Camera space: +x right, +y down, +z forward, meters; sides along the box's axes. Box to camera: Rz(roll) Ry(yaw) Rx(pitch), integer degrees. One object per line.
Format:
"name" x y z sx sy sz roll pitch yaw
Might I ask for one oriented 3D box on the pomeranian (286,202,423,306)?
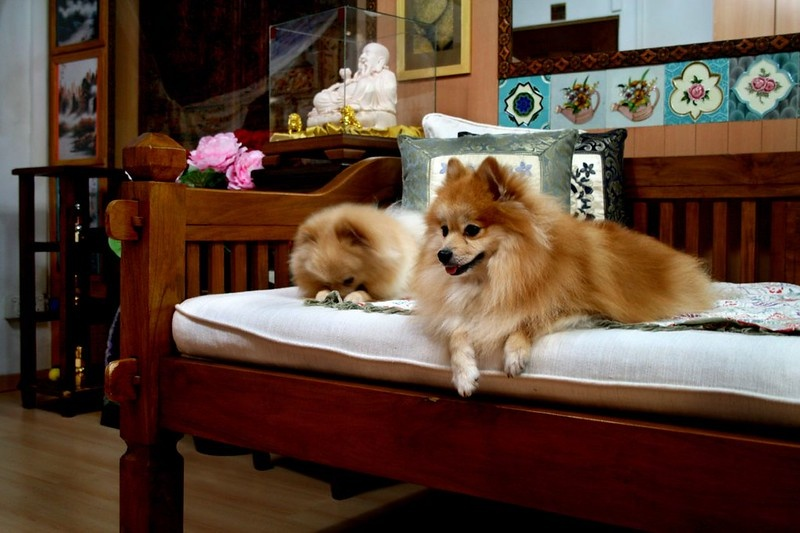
"pomeranian" -0.071 -0.049 2.557 0.457 0.275 0.708 -2 8 25
